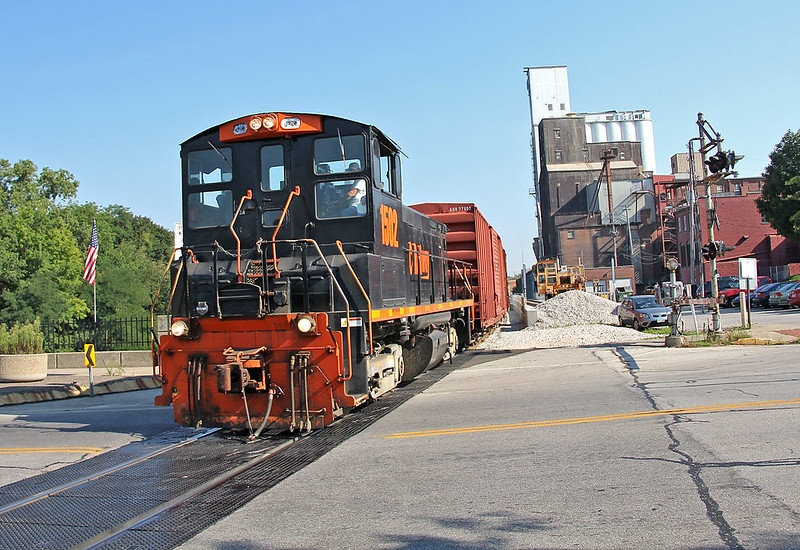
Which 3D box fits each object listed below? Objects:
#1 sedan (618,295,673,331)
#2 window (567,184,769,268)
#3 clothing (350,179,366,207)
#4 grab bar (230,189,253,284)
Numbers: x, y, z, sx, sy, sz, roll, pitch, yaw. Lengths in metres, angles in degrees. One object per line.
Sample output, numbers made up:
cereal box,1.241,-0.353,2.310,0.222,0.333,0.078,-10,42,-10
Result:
sedan,10.927,1.749,31.025,1.536,1.138,3.336,-3,-4,-2
window,26.120,-4.636,68.229,10.264,9.610,6.246,0,-4,11
clothing,-0.775,-1.530,12.867,0.318,0.462,0.192,15,-2,-7
grab bar,-3.017,-0.686,12.977,0.479,1.828,0.185,0,2,-43
